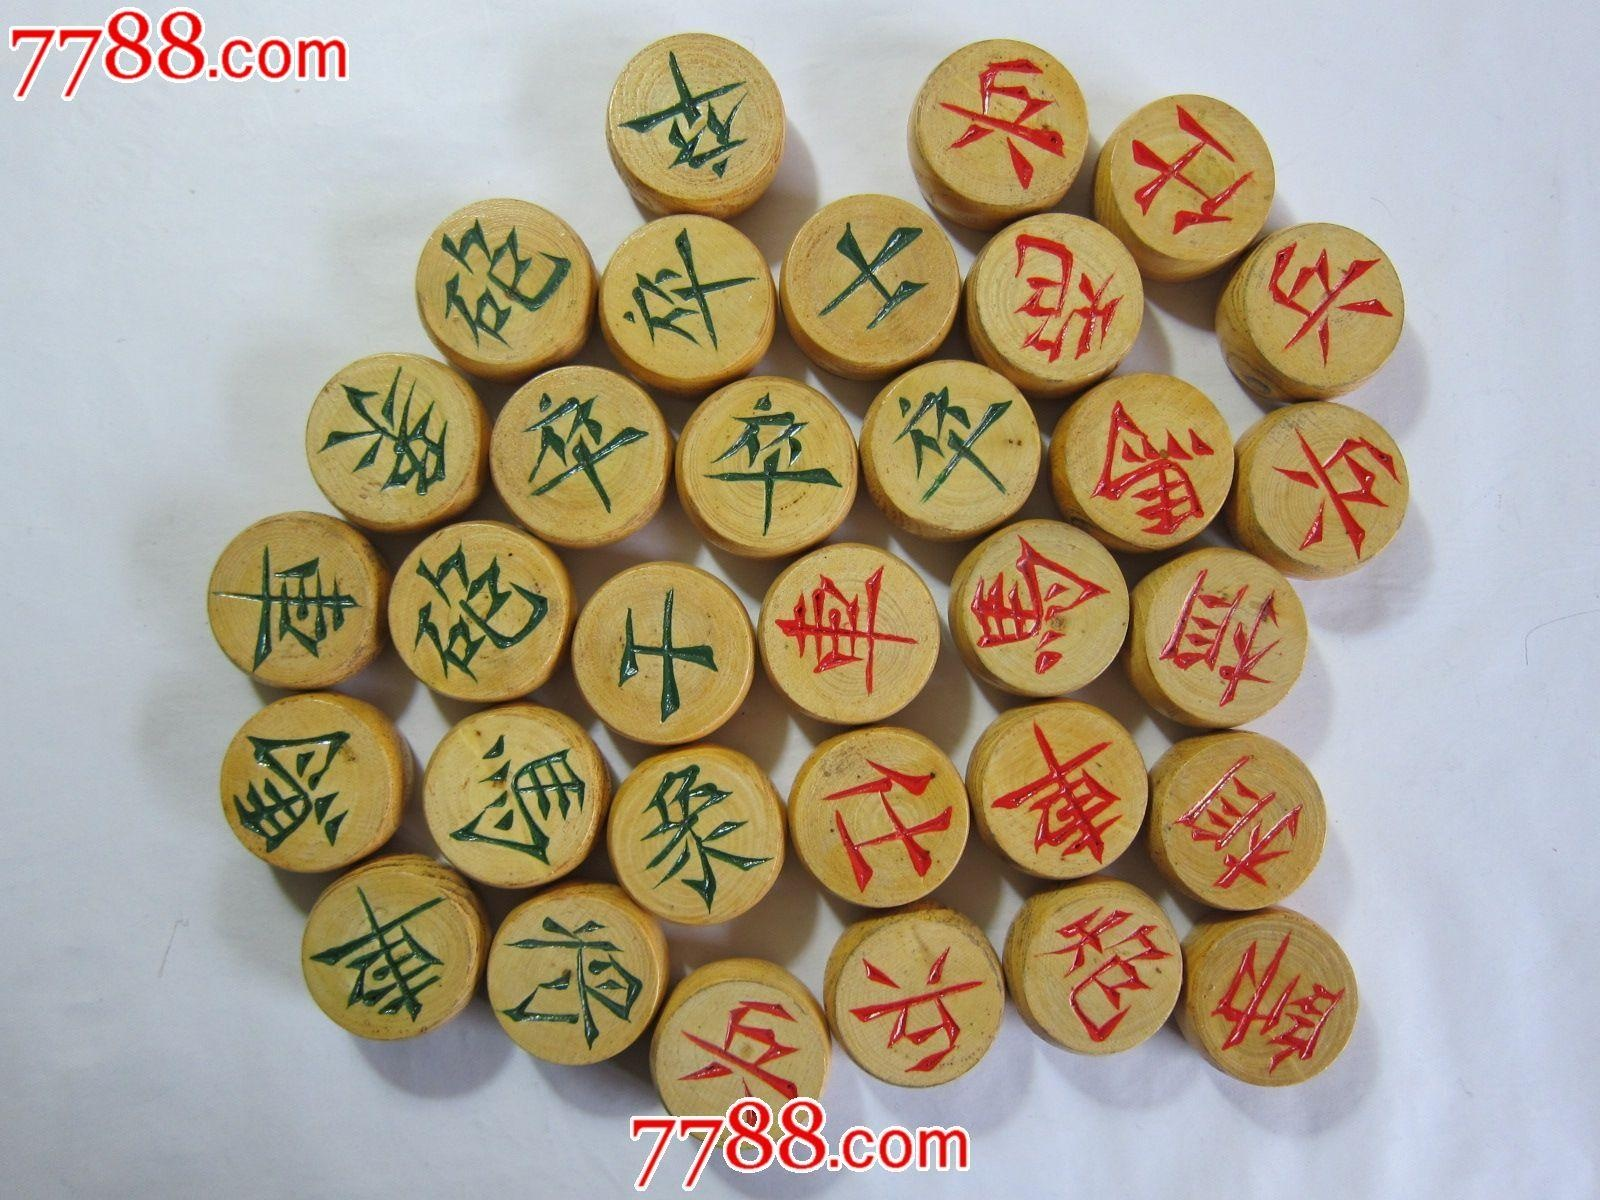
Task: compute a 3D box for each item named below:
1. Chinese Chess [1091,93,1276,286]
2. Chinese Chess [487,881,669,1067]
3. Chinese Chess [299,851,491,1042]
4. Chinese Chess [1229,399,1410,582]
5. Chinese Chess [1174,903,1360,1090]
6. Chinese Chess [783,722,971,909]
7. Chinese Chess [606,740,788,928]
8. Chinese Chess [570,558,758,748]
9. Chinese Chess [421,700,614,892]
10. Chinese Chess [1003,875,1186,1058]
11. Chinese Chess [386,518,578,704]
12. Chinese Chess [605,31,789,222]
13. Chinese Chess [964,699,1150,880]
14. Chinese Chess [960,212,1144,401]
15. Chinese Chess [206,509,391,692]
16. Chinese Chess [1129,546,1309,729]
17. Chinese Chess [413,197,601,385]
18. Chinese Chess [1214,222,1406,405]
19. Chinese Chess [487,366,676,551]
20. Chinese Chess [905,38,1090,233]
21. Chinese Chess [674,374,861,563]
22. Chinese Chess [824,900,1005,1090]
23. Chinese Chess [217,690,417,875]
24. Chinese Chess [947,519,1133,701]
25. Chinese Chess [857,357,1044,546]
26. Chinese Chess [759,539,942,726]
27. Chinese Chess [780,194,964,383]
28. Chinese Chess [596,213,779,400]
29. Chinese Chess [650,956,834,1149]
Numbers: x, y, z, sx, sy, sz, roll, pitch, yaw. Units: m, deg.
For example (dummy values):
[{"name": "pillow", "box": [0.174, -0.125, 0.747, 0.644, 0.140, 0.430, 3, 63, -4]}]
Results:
[{"name": "Chinese Chess", "box": [0.642, -0.701, 3.247, 0.273, 0.102, 0.289, 32, 90, -4]}, {"name": "Chinese Chess", "box": [-0.366, 0.613, 3.146, 0.285, 0.094, 0.286, 0, 83, -2]}, {"name": "Chinese Chess", "box": [-0.670, 0.578, 3.154, 0.294, 0.036, 0.282, -15, 84, -3]}, {"name": "Chinese Chess", "box": [0.878, -0.181, 3.227, 0.296, 0.076, 0.321, -14, 79, -15]}, {"name": "Chinese Chess", "box": [0.762, 0.638, 3.245, 0.312, 0.123, 0.341, -15, 125, 0]}, {"name": "Chinese Chess", "box": [0.130, 0.356, 3.144, 0.287, 0.043, 0.287, 5, 83, -1]}, {"name": "Chinese Chess", "box": [-0.165, 0.409, 3.165, 0.295, 0.077, 0.327, -12, 56, 13]}, {"name": "Chinese Chess", "box": [-0.222, 0.093, 3.179, 0.265, 0.066, 0.293, -7, 85, -3]}, {"name": "Chinese Chess", "box": [-0.466, 0.322, 3.142, 0.293, 0.050, 0.291, -5, 83, -2]}, {"name": "Chinese Chess", "box": [0.486, 0.611, 3.179, 0.282, 0.106, 0.279, -14, 83, -3]}, {"name": "Chinese Chess", "box": [-0.523, 0.019, 3.143, 0.293, 0.044, 0.288, -2, 83, -2]}, {"name": "Chinese Chess", "box": [-0.173, -0.781, 3.198, 0.284, 0.134, 0.290, -44, 86, -6]}, {"name": "Chinese Chess", "box": [0.427, 0.315, 3.171, 0.285, 0.063, 0.287, -11, 83, -3]}, {"name": "Chinese Chess", "box": [0.422, -0.480, 3.109, 0.261, 0.101, 0.294, -8, 92, -4]}, {"name": "Chinese Chess", "box": [-0.830, -0.001, 3.180, 0.285, 0.072, 0.286, 15, 83, 0]}, {"name": "Chinese Chess", "box": [0.696, 0.066, 3.056, 0.264, 0.104, 0.300, 3, 87, 0]}, {"name": "Chinese Chess", "box": [-0.488, -0.515, 3.166, 0.283, 0.060, 0.285, 0, 83, -2]}, {"name": "Chinese Chess", "box": [0.885, -0.477, 3.287, 0.289, 0.186, 0.306, 32, 80, 13]}, {"name": "Chinese Chess", "box": [-0.362, -0.236, 3.141, 0.288, 0.046, 0.287, 9, 83, 0]}, {"name": "Chinese Chess", "box": [0.329, -0.776, 3.220, 0.284, 0.130, 0.288, 10, 83, 0]}, {"name": "Chinese Chess", "box": [-0.055, -0.219, 3.148, 0.292, 0.058, 0.287, -9, 83, -3]}, {"name": "Chinese Chess", "box": [0.187, 0.657, 3.156, 0.287, 0.070, 0.284, -9, 83, -3]}, {"name": "Chinese Chess", "box": [-0.804, 0.302, 3.178, 0.294, 0.075, 0.291, 4, 83, -1]}, {"name": "Chinese Chess", "box": [0.396, 0.014, 3.172, 0.284, 0.078, 0.280, 0, 83, -2]}, {"name": "Chinese Chess", "box": [0.250, -0.248, 3.162, 0.281, 0.058, 0.282, -1, 83, -2]}, {"name": "Chinese Chess", "box": [0.081, 0.056, 3.138, 0.289, 0.040, 0.288, -26, 84, -4]}, {"name": "Chinese Chess", "box": [0.115, -0.520, 3.180, 0.287, 0.075, 0.286, 21, 83, 1]}, {"name": "Chinese Chess", "box": [-0.185, -0.498, 3.247, 0.262, 0.098, 0.285, -16, 90, -1]}, {"name": "Chinese Chess", "box": [-0.132, 0.722, 3.231, 0.067, 0.274, 0.275, 42, 122, -1]}]
